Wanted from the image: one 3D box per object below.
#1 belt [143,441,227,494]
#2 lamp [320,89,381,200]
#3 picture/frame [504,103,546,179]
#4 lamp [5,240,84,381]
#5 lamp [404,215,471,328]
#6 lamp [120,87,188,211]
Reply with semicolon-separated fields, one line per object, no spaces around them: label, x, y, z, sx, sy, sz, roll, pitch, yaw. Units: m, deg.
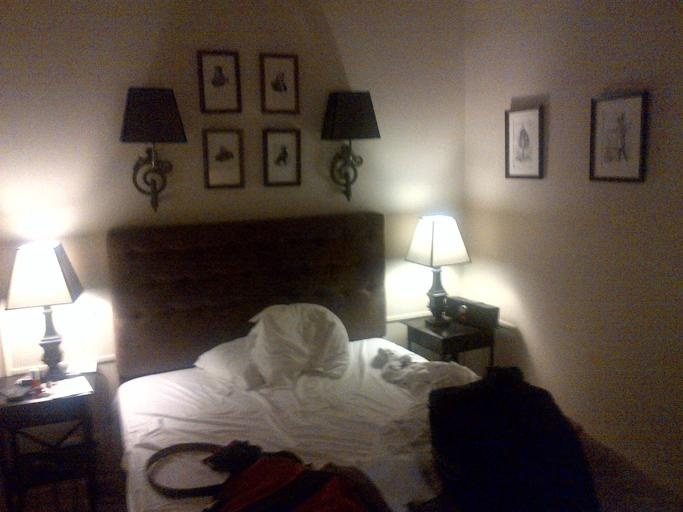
belt;-0.680;0.909;2.537;0.283;0.061;0.269;-3;11;-8
lamp;0.054;-0.721;3.743;0.363;0.726;0.186;-2;9;-18
picture/frame;1.175;-0.722;3.671;0.054;0.448;0.319;-4;9;-28
lamp;-1.632;0.299;3.167;0.367;0.741;0.297;-3;9;-26
lamp;0.662;0.115;3.957;0.447;0.735;0.401;0;1;-8
lamp;-1.129;-0.628;3.413;0.358;0.736;0.295;-7;21;-28
